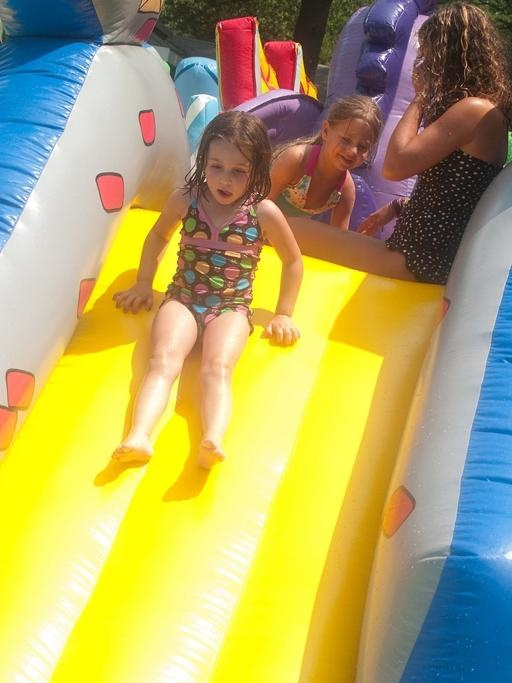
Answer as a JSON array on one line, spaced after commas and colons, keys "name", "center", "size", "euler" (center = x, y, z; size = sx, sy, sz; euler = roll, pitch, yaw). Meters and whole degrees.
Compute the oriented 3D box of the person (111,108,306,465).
[{"name": "person", "center": [-0.092, -0.140, 1.515], "size": [0.495, 0.544, 0.912], "euler": [14, 43, -5]}]
